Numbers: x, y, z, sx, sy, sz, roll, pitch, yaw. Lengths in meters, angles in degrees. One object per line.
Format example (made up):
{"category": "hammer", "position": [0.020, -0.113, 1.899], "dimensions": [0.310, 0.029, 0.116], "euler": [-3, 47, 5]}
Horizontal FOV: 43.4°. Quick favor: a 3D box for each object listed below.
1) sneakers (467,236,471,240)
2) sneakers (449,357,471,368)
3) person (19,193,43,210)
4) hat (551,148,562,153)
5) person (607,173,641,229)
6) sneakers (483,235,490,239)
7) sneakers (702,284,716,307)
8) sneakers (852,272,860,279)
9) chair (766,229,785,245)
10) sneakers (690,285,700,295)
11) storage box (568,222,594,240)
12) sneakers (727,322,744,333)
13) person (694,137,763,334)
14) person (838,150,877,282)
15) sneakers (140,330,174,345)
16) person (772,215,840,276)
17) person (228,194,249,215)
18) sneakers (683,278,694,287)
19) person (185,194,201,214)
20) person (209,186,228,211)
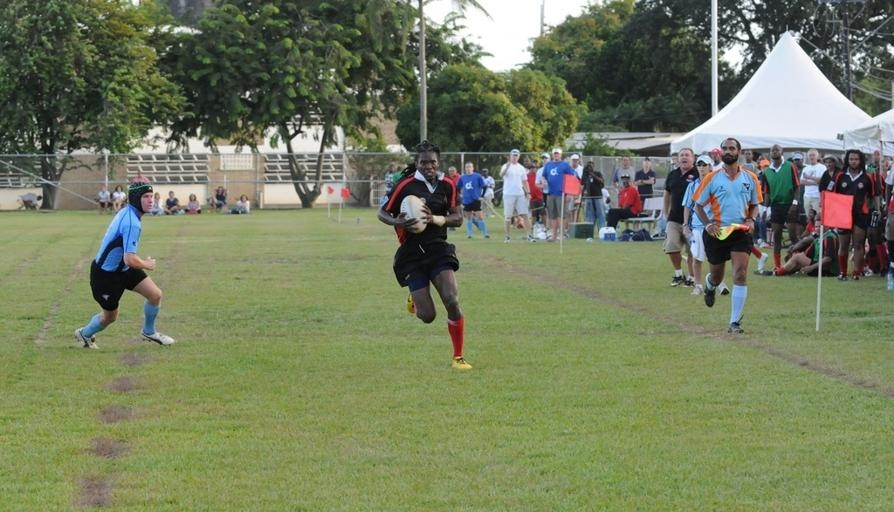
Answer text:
{"category": "sneakers", "position": [0.731, -0.602, 36.442], "dimensions": [0.142, 0.068, 0.194], "euler": [3, 1, -1]}
{"category": "sneakers", "position": [0.252, 1.972, 20.773], "dimensions": [0.355, 0.180, 0.173], "euler": [2, 6, 11]}
{"category": "person", "position": [-19.462, -2.620, 52.794], "dimensions": [0.926, 0.773, 0.584], "euler": [-1, 4, -21]}
{"category": "hat", "position": [3.298, -3.175, 33.621], "dimensions": [0.324, 0.133, 0.438], "euler": [1, 2, 13]}
{"category": "person", "position": [5.630, -1.698, 35.673], "dimensions": [1.041, 1.668, 0.859], "euler": [1, 4, 8]}
{"category": "sneakers", "position": [1.279, -0.626, 36.452], "dimensions": [0.161, 0.121, 0.384], "euler": [-2, 1, -4]}
{"category": "sneakers", "position": [5.556, 0.868, 23.820], "dimensions": [0.225, 0.526, 0.258], "euler": [0, 22, 14]}
{"category": "sneakers", "position": [9.815, 0.462, 26.932], "dimensions": [0.139, 0.075, 0.159], "euler": [3, -27, 2]}
{"category": "chair", "position": [8.770, -0.510, 30.131], "dimensions": [0.535, 0.405, 0.377], "euler": [-1, -6, 0]}
{"category": "sneakers", "position": [5.630, 0.777, 25.554], "dimensions": [0.253, 0.244, 0.634], "euler": [0, -2, 16]}
{"category": "storage box", "position": [4.339, -0.804, 36.022], "dimensions": [0.900, 0.488, 0.485], "euler": [0, -1, -6]}
{"category": "sneakers", "position": [5.757, 1.448, 22.463], "dimensions": [0.168, 0.135, 0.333], "euler": [0, -2, -18]}
{"category": "person", "position": [5.644, -0.447, 22.755], "dimensions": [1.130, 3.842, 0.901], "euler": [2, 4, 19]}
{"category": "person", "position": [9.599, -0.953, 26.590], "dimensions": [1.338, 3.090, 1.224], "euler": [2, 4, 27]}
{"category": "sneakers", "position": [-5.537, 1.566, 21.811], "dimensions": [0.701, 0.265, 0.229], "euler": [8, 18, 4]}
{"category": "person", "position": [8.852, -0.191, 27.577], "dimensions": [1.345, 1.323, 0.752], "euler": [2, 4, 16]}
{"category": "person", "position": [-9.732, -2.458, 53.013], "dimensions": [0.863, 0.798, 2.150], "euler": [0, 4, -12]}
{"category": "sneakers", "position": [5.658, 0.628, 26.388], "dimensions": [0.199, 0.190, 0.495], "euler": [0, -5, 10]}
{"category": "person", "position": [-11.522, -2.379, 51.441], "dimensions": [0.995, 1.011, 0.935], "euler": [-1, 0, -3]}
{"category": "person", "position": [-10.781, -2.752, 53.672], "dimensions": [0.734, 1.109, 1.392], "euler": [0, 4, -11]}
